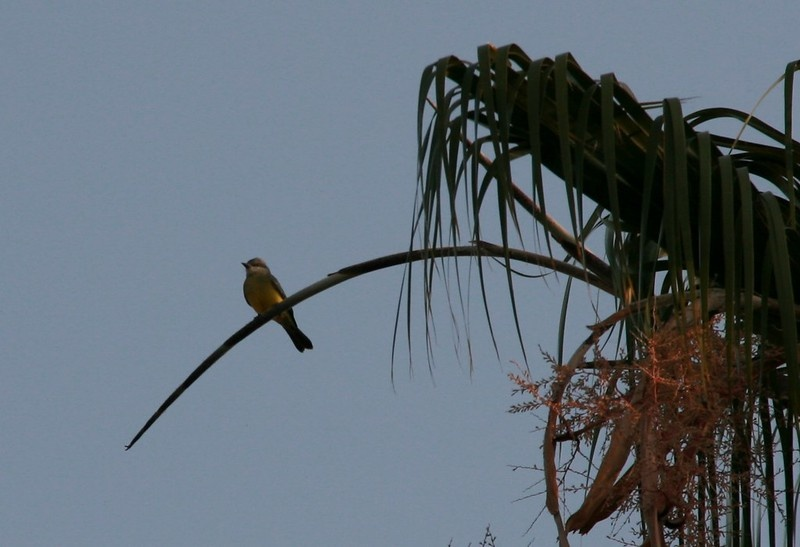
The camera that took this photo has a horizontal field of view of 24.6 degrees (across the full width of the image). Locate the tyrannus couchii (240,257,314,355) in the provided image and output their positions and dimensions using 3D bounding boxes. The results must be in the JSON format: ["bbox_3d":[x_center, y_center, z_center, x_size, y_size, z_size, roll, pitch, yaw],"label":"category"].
[{"bbox_3d":[-0.450,0.097,6.417,0.119,0.147,0.358,-32,-87,1],"label":"tyrannus couchii"}]
